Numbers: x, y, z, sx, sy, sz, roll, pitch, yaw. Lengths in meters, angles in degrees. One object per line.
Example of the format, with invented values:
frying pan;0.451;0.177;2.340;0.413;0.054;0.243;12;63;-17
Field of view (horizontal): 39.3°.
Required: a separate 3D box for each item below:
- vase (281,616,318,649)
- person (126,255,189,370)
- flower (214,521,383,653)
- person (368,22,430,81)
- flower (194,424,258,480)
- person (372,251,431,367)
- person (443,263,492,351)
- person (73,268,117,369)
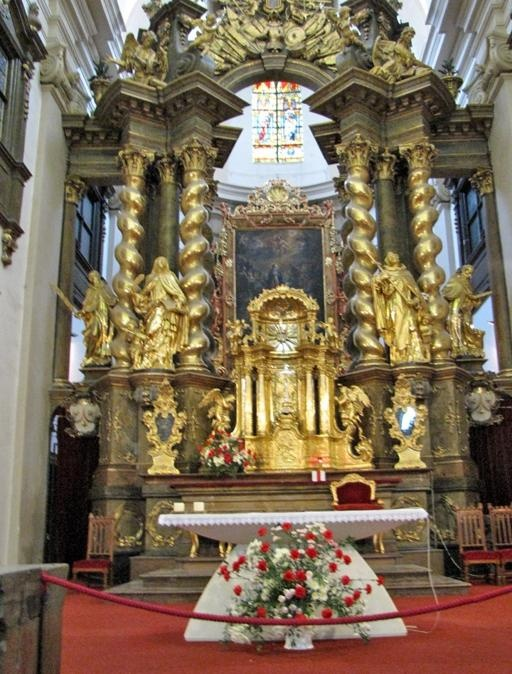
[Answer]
vase;0.214;1.556;3.709;0.157;0.123;0.181;-4;-17;2
person;-1.226;-0.272;8.908;0.736;1.519;0.348;-2;-19;-4
flower;0.151;1.293;3.871;0.791;0.495;0.781;16;-25;-42
person;2.123;-3.999;10.223;0.965;0.739;0.463;-5;24;-26
flower;-0.296;1.210;7.407;0.564;0.293;0.501;-1;10;-9
person;1.776;-0.345;8.892;0.635;1.517;0.314;-7;-19;10
person;2.874;-0.372;9.869;0.762;1.343;0.442;13;-25;-41
person;-2.213;-0.283;9.916;0.541;1.437;0.595;-1;-19;-8
